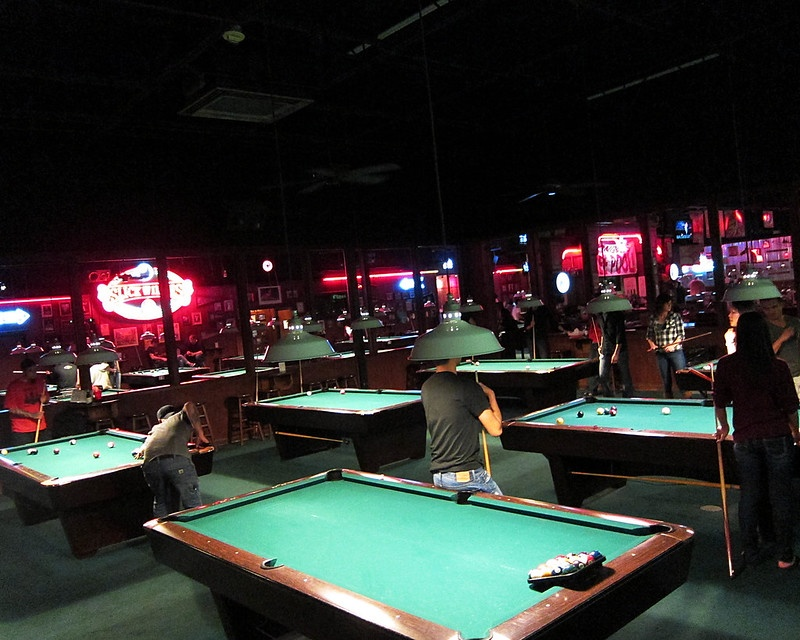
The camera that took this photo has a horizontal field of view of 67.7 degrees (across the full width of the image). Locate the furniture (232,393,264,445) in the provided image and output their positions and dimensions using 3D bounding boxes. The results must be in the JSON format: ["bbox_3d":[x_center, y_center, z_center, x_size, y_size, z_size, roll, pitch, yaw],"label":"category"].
[{"bbox_3d":[-2.520,1.648,9.990,0.454,0.676,0.422,-9,2,-14],"label":"furniture"}]

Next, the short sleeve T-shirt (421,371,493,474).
[{"bbox_3d":[0.390,0.714,4.124,0.458,0.581,0.271,-8,3,0],"label":"short sleeve T-shirt"}]

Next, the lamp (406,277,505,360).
[{"bbox_3d":[0.338,0.031,3.832,0.489,0.268,0.460,-4,-1,1],"label":"lamp"}]

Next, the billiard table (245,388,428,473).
[{"bbox_3d":[-0.692,1.472,8.020,2.210,0.702,1.546,-4,1,40],"label":"billiard table"}]

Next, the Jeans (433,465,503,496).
[{"bbox_3d":[0.461,1.107,4.091,0.386,0.096,0.212,2,-3,-5],"label":"Jeans"}]

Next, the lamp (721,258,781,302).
[{"bbox_3d":[3.140,-0.311,5.376,0.435,0.326,0.546,-6,2,27],"label":"lamp"}]

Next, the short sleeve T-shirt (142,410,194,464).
[{"bbox_3d":[-2.175,1.102,5.588,0.454,0.503,0.256,-9,3,-20],"label":"short sleeve T-shirt"}]

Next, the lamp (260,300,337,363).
[{"bbox_3d":[-0.935,0.181,5.399,0.592,0.390,0.472,-8,2,-6],"label":"lamp"}]

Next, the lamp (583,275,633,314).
[{"bbox_3d":[2.374,-0.223,6.875,0.576,0.322,0.531,-3,-6,8],"label":"lamp"}]

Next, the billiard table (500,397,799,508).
[{"bbox_3d":[2.104,1.055,5.280,1.225,0.598,1.677,-3,-2,-43],"label":"billiard table"}]
